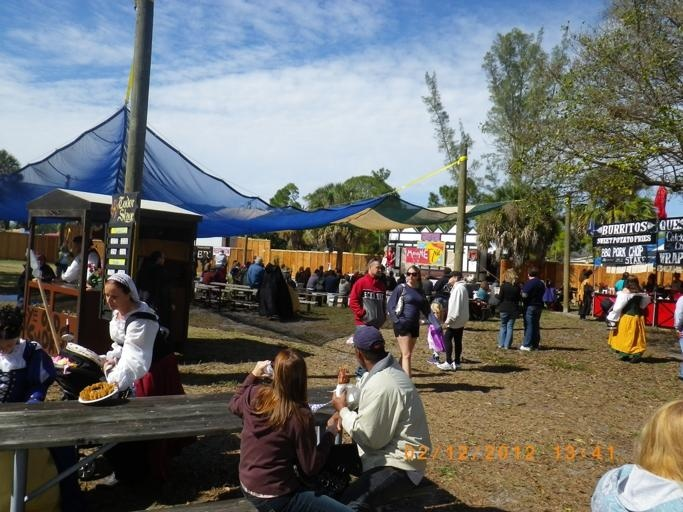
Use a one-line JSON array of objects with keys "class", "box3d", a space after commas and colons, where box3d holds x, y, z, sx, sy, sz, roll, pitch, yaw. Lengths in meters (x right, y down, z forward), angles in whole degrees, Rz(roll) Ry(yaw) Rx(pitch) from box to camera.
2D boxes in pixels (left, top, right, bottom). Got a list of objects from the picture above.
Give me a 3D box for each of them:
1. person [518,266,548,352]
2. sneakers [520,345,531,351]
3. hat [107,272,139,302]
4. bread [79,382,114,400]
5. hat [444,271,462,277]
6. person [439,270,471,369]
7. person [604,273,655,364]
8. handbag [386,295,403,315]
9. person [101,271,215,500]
[{"class": "person", "box3d": [4.540, 1.234, 13.623, 0.494, 1.274, 1.361, 2, 1, 18]}, {"class": "sneakers", "box3d": [4.346, 2.154, 13.521, 0.220, 0.102, 0.089, -5, -3, 31]}, {"class": "hat", "box3d": [-2.150, 0.282, 5.670, 0.280, 0.275, 0.825, 1, 1, -18]}, {"class": "bread", "box3d": [-2.197, 1.204, 5.134, 0.200, 0.078, 0.183, -8, 5, 30]}, {"class": "hat", "box3d": [2.600, 0.411, 13.416, 0.333, 0.131, 0.224, 2, -3, 16]}, {"class": "person", "box3d": [2.200, 1.233, 11.260, 0.524, 1.823, 1.545, 2, 1, 11]}, {"class": "person", "box3d": [6.567, 1.383, 13.102, 0.794, 1.469, 0.868, 3, 2, 29]}, {"class": "handbag", "box3d": [0.818, 0.756, 8.664, 0.184, 0.275, 0.270, 4, -8, -14]}, {"class": "person", "box3d": [-2.038, 1.058, 5.599, 0.718, 1.665, 1.062, 2, 4, 26]}]
